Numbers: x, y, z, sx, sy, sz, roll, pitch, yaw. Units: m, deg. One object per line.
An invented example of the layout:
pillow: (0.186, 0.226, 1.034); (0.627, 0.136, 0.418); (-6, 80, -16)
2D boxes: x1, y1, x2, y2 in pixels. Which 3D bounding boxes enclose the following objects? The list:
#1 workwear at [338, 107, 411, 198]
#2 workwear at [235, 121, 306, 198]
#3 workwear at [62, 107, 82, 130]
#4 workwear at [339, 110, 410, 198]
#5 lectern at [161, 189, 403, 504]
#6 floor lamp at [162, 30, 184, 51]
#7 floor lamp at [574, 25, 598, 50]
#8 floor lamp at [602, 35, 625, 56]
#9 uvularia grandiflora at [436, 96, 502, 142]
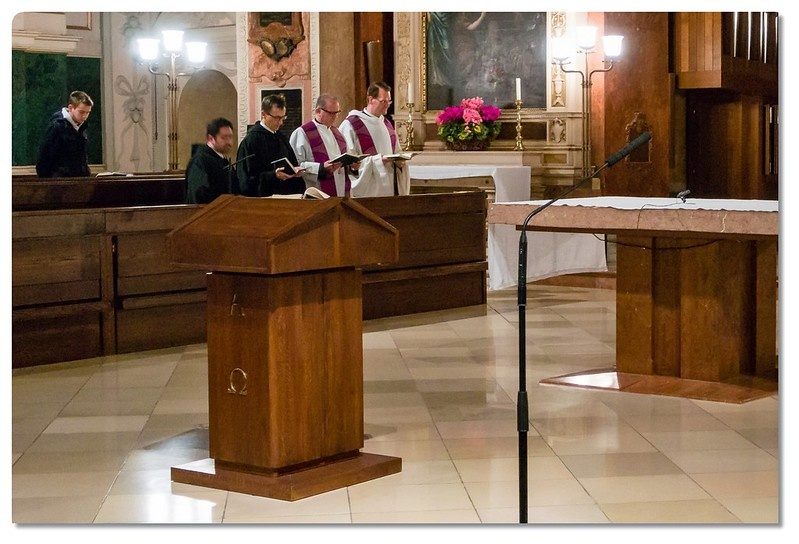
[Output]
workwear: (-0.278, -1.225, 7.815); (0.633, 1.122, 0.658); (18, 23, 40)
workwear: (-1.252, -1.057, 6.857); (0.638, 0.869, 0.705); (-16, 27, -40)
workwear: (-3.593, -1.674, 7.895); (0.201, 0.232, 0.220); (-2, 9, -16)
workwear: (-0.226, -1.222, 7.926); (0.835, 1.055, 0.576); (-5, 6, -39)
lectern: (-0.498, 0.314, 3.363); (0.939, 1.219, 0.870); (1, -3, -44)
floor lamp: (-3.231, -3.289, 10.269); (0.242, 0.319, 0.468); (-2, 9, -14)
floor lamp: (2.310, -2.816, 8.750); (0.348, 0.273, 0.342); (0, 6, 0)
floor lamp: (2.562, -2.671, 8.557); (0.278, 0.202, 0.271); (-2, 3, -30)
uvularia grandiflora: (0.979, -2.135, 9.957); (0.854, 0.617, 0.562); (9, 14, 28)
